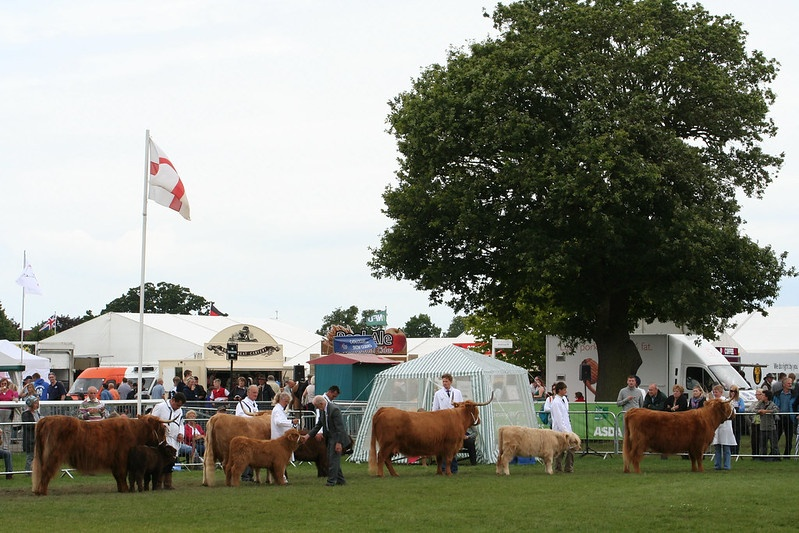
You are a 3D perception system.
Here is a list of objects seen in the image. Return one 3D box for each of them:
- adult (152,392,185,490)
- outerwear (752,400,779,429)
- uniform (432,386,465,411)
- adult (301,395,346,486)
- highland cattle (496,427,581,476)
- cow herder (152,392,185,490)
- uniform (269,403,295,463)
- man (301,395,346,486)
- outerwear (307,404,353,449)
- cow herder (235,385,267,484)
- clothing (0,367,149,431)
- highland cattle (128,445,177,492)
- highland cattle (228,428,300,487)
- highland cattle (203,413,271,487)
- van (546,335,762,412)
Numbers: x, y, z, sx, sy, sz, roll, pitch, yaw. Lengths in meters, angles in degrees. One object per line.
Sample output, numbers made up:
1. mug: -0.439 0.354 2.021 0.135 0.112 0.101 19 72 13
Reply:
1. adult: -7.457 5.539 45.398 1.094 2.928 1.279 3 -2 31
2. outerwear: 13.014 5.124 49.407 1.042 1.358 0.890 0 -15 6
3. uniform: 1.665 4.432 47.456 0.779 0.695 0.287 6 -17 -26
4. adult: -2.359 5.512 44.977 1.160 2.937 1.463 4 -12 -23
5. highland cattle: 4.653 6.027 46.328 2.800 1.552 0.841 2 -9 -10
6. cow herder: -7.516 5.542 45.413 1.167 2.940 1.312 5 1 27
7. uniform: -3.886 5.146 45.331 0.841 1.742 1.373 -3 -7 -4
8. man: -2.359 5.512 44.980 1.171 2.937 1.463 4 -12 -22
9. outerwear: -2.262 5.292 45.164 1.136 1.724 1.124 -1 0 27
10. cow herder: -5.012 5.938 46.243 0.972 2.035 3.690 2 17 -5
11. clothing: -12.210 4.847 51.898 4.428 2.267 1.761 6 -8 -38
12. highland cattle: -7.792 6.251 44.042 0.752 1.400 1.912 -4 -10 37
13. highland cattle: -4.264 6.042 44.759 2.470 1.787 1.077 2 -10 -26
14. highland cattle: -4.961 5.899 46.040 1.264 2.259 4.272 -7 -6 37
15. van: 10.806 4.110 60.784 8.797 4.362 3.756 -1 -2 16
